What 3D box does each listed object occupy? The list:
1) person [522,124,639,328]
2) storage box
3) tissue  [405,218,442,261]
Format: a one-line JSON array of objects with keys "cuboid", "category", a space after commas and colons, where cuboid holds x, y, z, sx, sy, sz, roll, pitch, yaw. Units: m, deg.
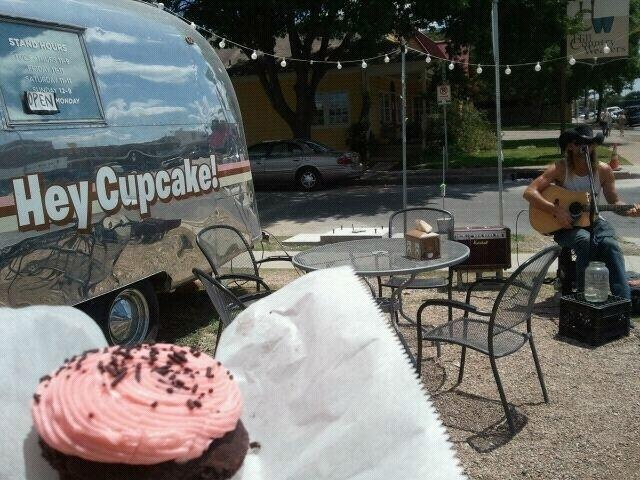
[{"cuboid": [2.531, -0.238, 6.240, 0.685, 2.050, 0.914, 0, 1, 15], "category": "person"}, {"cuboid": [2.477, 0.625, 5.834, 0.540, 0.502, 0.502, -3, 5, -17], "category": "storage box"}, {"cuboid": [0.788, -0.007, 5.106, 0.194, 0.374, 0.314, -2, 1, -28], "category": "tissue "}]
